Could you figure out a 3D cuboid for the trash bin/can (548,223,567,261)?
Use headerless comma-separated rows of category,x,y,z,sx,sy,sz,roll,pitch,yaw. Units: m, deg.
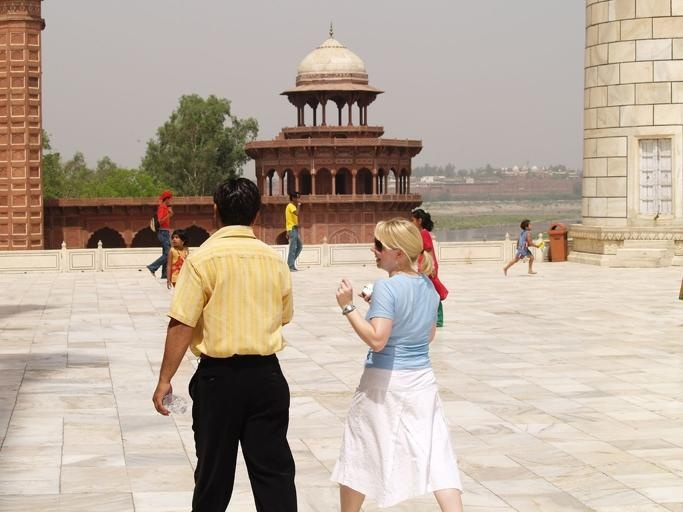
trash bin/can,4.947,-0.320,24.210,0.445,0.671,0.679,1,1,11

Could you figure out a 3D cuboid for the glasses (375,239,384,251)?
glasses,0.255,-0.080,7.571,0.028,0.070,0.076,-8,11,-10

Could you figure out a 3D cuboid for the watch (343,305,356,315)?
watch,0.038,0.377,7.483,0.097,0.056,0.089,-18,-17,-18
